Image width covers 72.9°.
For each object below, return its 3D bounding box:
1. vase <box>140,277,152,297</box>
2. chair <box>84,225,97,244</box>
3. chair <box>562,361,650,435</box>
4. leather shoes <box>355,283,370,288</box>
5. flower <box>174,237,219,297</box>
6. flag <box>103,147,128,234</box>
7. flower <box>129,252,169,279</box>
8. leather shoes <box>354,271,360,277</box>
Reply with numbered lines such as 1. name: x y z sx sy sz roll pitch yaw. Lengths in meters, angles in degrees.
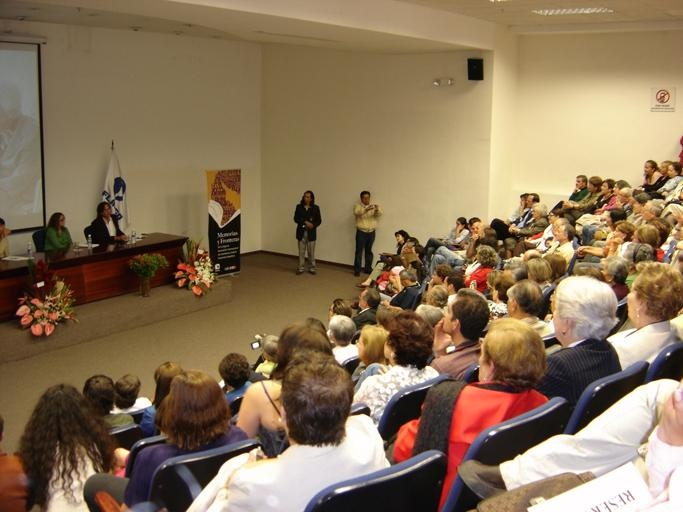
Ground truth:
1. vase: -3.248 0.516 7.585 0.193 0.379 0.196 -9 19 -41
2. chair: -4.374 -0.366 8.006 0.258 0.317 0.218 19 24 41
3. chair: 1.107 0.608 1.961 0.191 0.309 0.190 -16 30 -10
4. leather shoes: 0.406 0.562 8.705 0.205 0.071 0.079 1 4 4
5. flower: -2.624 0.216 8.246 0.682 0.963 0.413 -10 -15 -40
6. flag: -4.349 -1.268 8.888 0.391 2.036 0.287 -4 -18 -28
7. flower: -3.204 0.118 7.595 0.419 0.346 0.452 -7 15 -19
8. leather shoes: 0.335 0.409 10.129 0.126 0.110 0.079 -14 4 2
